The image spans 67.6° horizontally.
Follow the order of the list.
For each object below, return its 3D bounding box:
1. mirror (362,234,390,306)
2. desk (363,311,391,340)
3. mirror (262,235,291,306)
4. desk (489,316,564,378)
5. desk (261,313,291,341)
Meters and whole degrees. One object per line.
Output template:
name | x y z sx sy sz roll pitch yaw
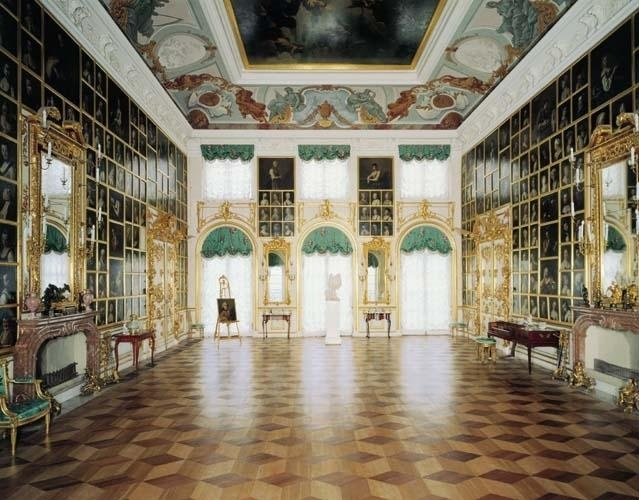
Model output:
mirror | 1.991 0.745 16.881 0.914 2.298 0.254 0 3 0
desk | 2.060 2.602 16.535 0.888 0.900 0.744 0 3 8
mirror | -1.520 0.814 16.853 0.964 2.529 0.171 -1 11 -10
desk | 4.967 2.371 11.819 0.732 1.149 1.913 0 -2 -10
desk | -1.501 2.610 16.472 0.995 1.018 0.787 1 -8 -5
